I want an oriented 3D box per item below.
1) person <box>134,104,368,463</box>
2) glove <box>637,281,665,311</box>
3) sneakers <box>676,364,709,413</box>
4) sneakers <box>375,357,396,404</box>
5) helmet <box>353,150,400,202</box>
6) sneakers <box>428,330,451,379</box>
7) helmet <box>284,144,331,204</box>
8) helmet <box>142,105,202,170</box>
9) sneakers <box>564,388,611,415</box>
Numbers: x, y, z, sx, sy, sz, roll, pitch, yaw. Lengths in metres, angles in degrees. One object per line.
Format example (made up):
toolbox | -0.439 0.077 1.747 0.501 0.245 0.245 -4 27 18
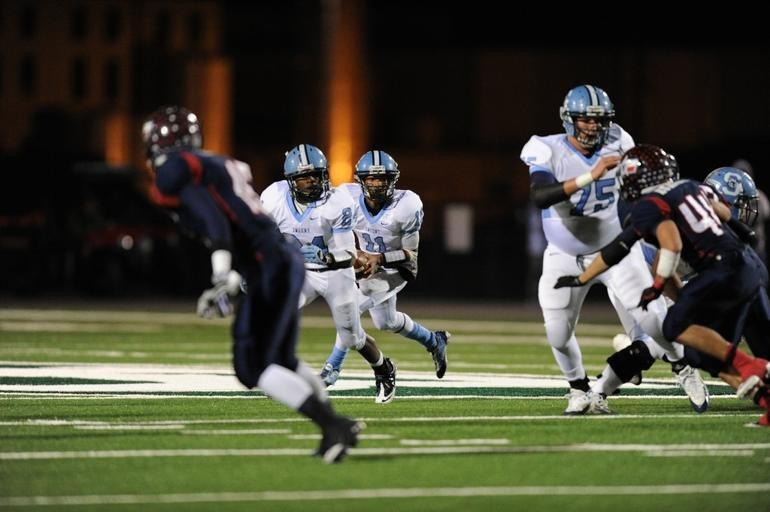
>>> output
person | -0.967 0.166 7.600 1.492 2.478 0.489 -2 3 8
glove | 2.043 0.289 8.500 0.125 0.100 0.322 3 -30 -18
sneakers | 2.551 1.086 9.136 0.207 0.487 0.155 12 -41 -42
sneakers | -0.019 1.063 9.509 0.177 0.361 0.213 -2 3 -4
helmet | -0.091 -0.757 10.177 0.388 0.411 0.450 -1 11 -6
sneakers | 0.496 0.888 10.282 0.216 0.471 0.158 -4 2 -6
helmet | -0.689 -0.718 9.462 0.364 0.433 0.496 -7 26 -5
helmet | -1.556 -0.853 7.912 0.456 0.477 0.344 6 -12 -34
sneakers | 1.659 1.190 9.009 0.404 0.191 0.161 4 -9 -27
